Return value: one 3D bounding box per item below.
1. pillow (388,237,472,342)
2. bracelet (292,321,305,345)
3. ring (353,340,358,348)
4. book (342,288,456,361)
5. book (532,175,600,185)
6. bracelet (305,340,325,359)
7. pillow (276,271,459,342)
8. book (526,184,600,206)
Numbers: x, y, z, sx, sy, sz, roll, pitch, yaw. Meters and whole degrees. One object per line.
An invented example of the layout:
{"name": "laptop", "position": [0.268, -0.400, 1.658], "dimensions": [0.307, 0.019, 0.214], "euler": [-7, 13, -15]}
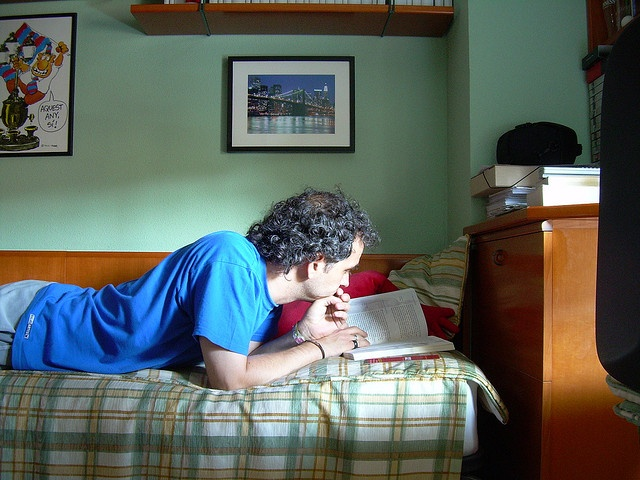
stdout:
{"name": "pillow", "position": [0.463, 0.191, 2.144], "dimensions": [0.112, 0.358, 0.326], "euler": [5, 24, -32]}
{"name": "bracelet", "position": [-0.078, 0.329, 1.846], "dimensions": [0.032, 0.053, 0.052], "euler": [-23, -17, -3]}
{"name": "ring", "position": [0.126, 0.366, 1.811], "dimensions": [0.005, 0.020, 0.020], "euler": [3, 0, -10]}
{"name": "book", "position": [0.251, 0.313, 1.904], "dimensions": [0.236, 0.103, 0.262], "euler": [-5, 46, -8]}
{"name": "book", "position": [0.860, -0.207, 1.783], "dimensions": [0.102, 0.026, 0.098], "euler": [0, 3, 0]}
{"name": "bracelet", "position": [-0.014, 0.368, 1.753], "dimensions": [0.016, 0.058, 0.059], "euler": [-29, 36, -13]}
{"name": "pillow", "position": [0.117, 0.294, 2.059], "dimensions": [0.442, 0.197, 0.620], "euler": [2, -4, -24]}
{"name": "book", "position": [0.831, -0.153, 1.765], "dimensions": [0.136, 0.054, 0.103], "euler": [0, -3, -9]}
